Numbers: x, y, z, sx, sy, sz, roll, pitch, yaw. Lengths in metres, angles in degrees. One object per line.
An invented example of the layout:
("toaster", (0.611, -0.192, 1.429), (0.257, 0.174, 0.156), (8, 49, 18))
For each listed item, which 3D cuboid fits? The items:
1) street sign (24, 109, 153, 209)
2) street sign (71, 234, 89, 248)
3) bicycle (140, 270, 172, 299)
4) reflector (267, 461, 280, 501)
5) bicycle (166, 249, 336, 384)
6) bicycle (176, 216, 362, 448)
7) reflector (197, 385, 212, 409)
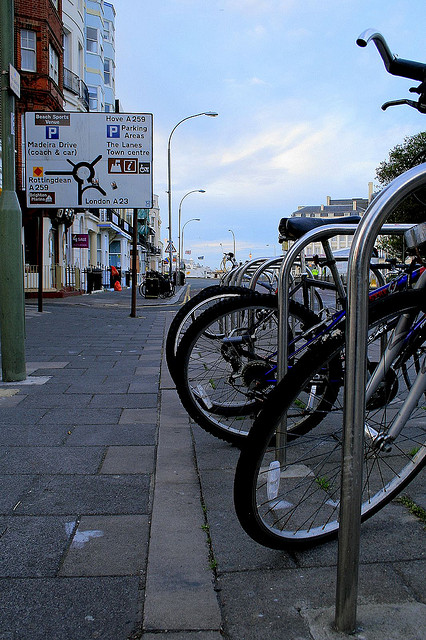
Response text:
("street sign", (-2.289, -2.988, 10.822), (2.267, 1.782, 0.360), (-1, 4, -14))
("street sign", (-6.263, -3.691, 27.339), (0.617, 0.536, 0.644), (-1, 3, 0))
("bicycle", (-2.438, -1.405, 23.161), (1.458, 1.031, 0.754), (2, -3, -25))
("reflector", (0.207, 0.551, 1.954), (0.011, 0.126, 0.084), (19, -27, -21))
("bicycle", (0.296, -0.057, 3.550), (1.114, 0.808, 0.575), (2, 1, -14))
("bicycle", (0.501, 0.226, 3.273), (1.378, 1.008, 0.757), (2, -1, -18))
("reflector", (-0.051, 0.418, 3.210), (0.041, 0.019, 0.176), (-9, 53, -25))
